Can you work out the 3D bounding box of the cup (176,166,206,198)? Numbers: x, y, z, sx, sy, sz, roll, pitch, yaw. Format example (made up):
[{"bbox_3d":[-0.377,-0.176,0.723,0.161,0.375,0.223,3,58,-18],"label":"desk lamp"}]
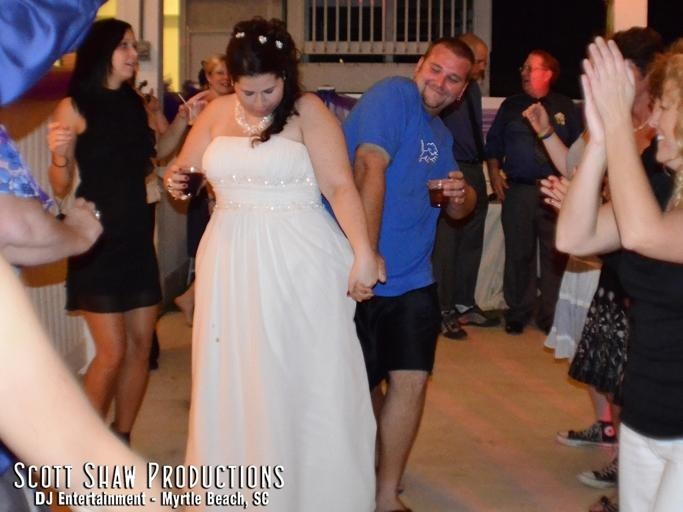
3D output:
[{"bbox_3d":[-0.596,-0.289,2.239,0.090,0.105,0.094,10,15,-3],"label":"cup"}]

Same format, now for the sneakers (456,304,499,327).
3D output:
[{"bbox_3d":[1.192,0.529,5.118,0.430,0.209,0.171,2,2,3],"label":"sneakers"}]

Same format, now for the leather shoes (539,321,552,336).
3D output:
[{"bbox_3d":[1.747,0.604,4.887,0.066,0.177,0.092,-20,-45,31],"label":"leather shoes"}]

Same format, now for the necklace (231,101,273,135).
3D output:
[{"bbox_3d":[-0.340,-0.508,2.104,0.106,0.133,0.040,-1,11,21],"label":"necklace"}]

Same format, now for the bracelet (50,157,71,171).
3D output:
[{"bbox_3d":[-1.215,-0.406,2.460,0.048,0.013,0.051,-3,-16,-1],"label":"bracelet"}]

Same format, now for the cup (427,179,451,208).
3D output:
[{"bbox_3d":[0.384,-0.248,2.275,0.082,0.108,0.085,-2,-1,0],"label":"cup"}]
